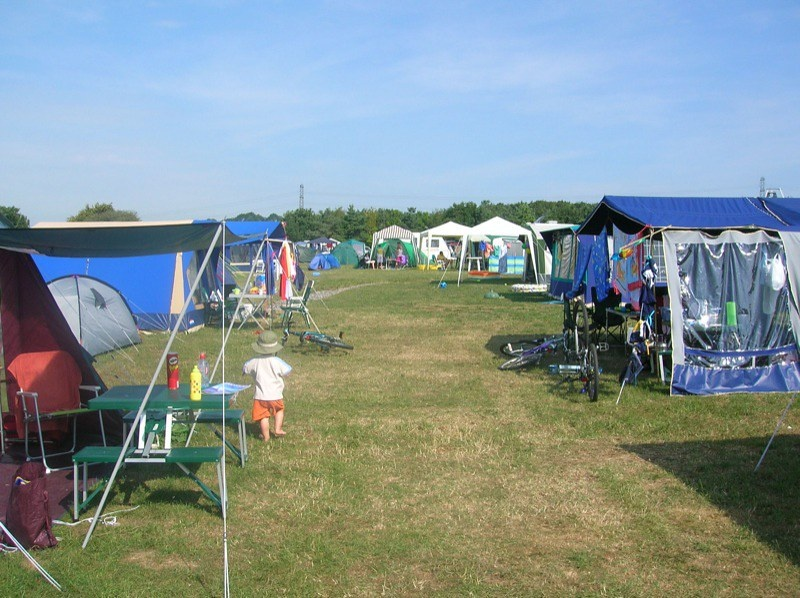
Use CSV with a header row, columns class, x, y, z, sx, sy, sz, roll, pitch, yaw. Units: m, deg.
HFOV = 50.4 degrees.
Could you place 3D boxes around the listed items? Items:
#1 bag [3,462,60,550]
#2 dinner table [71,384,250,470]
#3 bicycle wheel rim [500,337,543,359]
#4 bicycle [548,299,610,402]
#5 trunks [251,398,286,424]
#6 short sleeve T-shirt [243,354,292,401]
class,x,y,z,sx,sy,sz,roll,pitch,yaw
bag,-3.712,2.125,8.600,0.682,0.837,0.398,3,1,27
dinner table,-2.521,1.266,9.467,1.427,0.840,1.029,1,0,2
bicycle wheel rim,2.148,0.856,15.234,0.414,0.482,0.451,-5,13,33
bicycle,2.679,0.759,12.786,0.739,1.044,1.586,1,4,0
trunks,-1.616,1.347,10.530,0.406,0.419,0.234,1,-4,-37
short sleeve T-shirt,-1.578,0.912,10.607,0.683,0.727,0.473,1,7,5
